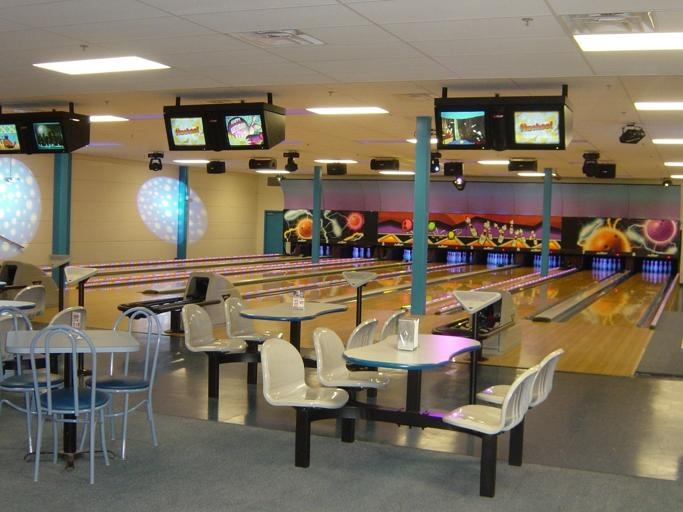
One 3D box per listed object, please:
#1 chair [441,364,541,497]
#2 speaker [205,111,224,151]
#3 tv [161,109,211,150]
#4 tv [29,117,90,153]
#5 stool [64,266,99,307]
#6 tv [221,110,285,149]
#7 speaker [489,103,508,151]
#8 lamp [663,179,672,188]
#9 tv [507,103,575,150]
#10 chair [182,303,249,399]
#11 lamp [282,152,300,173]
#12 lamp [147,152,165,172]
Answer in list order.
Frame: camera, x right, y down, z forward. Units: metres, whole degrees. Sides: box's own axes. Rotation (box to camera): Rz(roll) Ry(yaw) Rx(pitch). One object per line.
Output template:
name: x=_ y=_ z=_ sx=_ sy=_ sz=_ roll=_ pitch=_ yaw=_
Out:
chair: x=0.848 y=0.913 z=3.196 sx=0.433 sy=0.669 sz=0.494 roll=6 pitch=6 yaw=33
speaker: x=-1.351 y=-1.343 z=6.143 sx=0.204 sy=0.379 sz=0.094 roll=2 pitch=19 yaw=17
tv: x=-1.690 y=-1.392 z=6.293 sx=0.547 sy=0.443 sz=0.210 roll=3 pitch=5 yaw=14
tv: x=-3.361 y=-1.406 z=6.888 sx=0.666 sy=0.406 sz=0.486 roll=0 pitch=0 yaw=23
stool: x=-3.457 y=0.438 z=7.594 sx=0.401 sy=0.683 sz=0.569 roll=5 pitch=3 yaw=-36
tv: x=-0.919 y=-1.236 z=6.114 sx=0.571 sy=0.335 sz=0.412 roll=-1 pitch=-1 yaw=17
speaker: x=1.526 y=-1.230 z=5.502 sx=0.171 sy=0.411 sz=0.192 roll=4 pitch=6 yaw=19
lamp: x=8.005 y=-1.786 z=14.022 sx=0.181 sy=0.136 sz=0.055 roll=-2 pitch=2 yaw=16
tv: x=1.879 y=-1.182 z=5.353 sx=0.473 sy=0.317 sz=0.458 roll=0 pitch=2 yaw=19
chair: x=-1.019 y=0.748 z=4.659 sx=0.493 sy=0.702 sz=0.443 roll=2 pitch=5 yaw=0
lamp: x=-0.977 y=-1.865 z=11.280 sx=0.296 sy=0.392 sz=1.030 roll=2 pitch=4 yaw=-5
lamp: x=-4.001 y=-2.045 z=12.357 sx=0.321 sy=0.361 sz=0.619 roll=1 pitch=5 yaw=-18
